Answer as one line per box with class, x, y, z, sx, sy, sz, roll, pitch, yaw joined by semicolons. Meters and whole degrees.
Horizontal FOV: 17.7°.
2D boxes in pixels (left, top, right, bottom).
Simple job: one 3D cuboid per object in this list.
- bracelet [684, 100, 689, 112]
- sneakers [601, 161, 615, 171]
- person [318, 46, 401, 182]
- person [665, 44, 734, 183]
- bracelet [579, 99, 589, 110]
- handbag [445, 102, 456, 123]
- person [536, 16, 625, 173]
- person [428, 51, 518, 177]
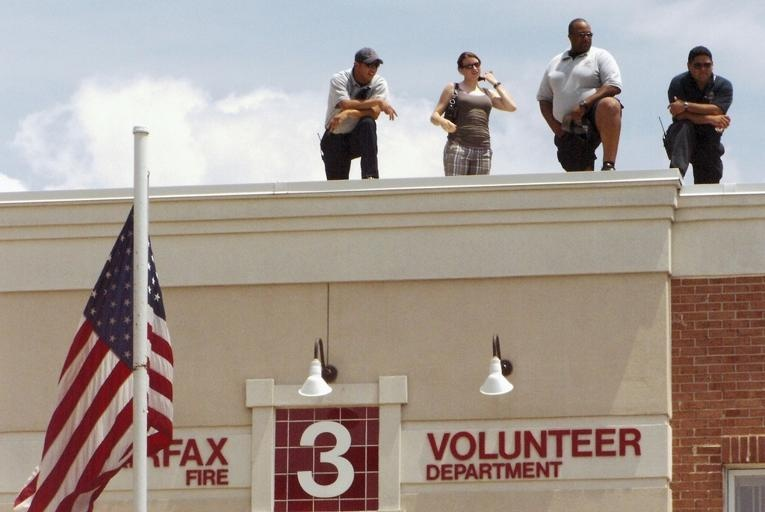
bracelet;4.416;-2.192;35.771;0.079;0.139;0.058;-4;-8;9
sneakers;3.251;-1.308;35.494;0.160;0.186;0.278;-3;-8;5
person;-0.367;-2.054;36.134;0.958;1.991;0.849;-1;-8;-8
person;4.584;-2.007;35.869;0.999;2.049;0.788;-3;-8;6
bracelet;2.929;-2.228;35.802;0.106;0.081;0.110;-4;-8;7
handbag;1.002;-2.156;36.292;0.156;0.307;0.130;-1;-8;-9
person;2.941;-2.316;36.059;1.318;2.374;0.493;-10;-11;43
person;1.282;-2.083;36.326;1.120;1.849;0.448;-2;-8;-3
